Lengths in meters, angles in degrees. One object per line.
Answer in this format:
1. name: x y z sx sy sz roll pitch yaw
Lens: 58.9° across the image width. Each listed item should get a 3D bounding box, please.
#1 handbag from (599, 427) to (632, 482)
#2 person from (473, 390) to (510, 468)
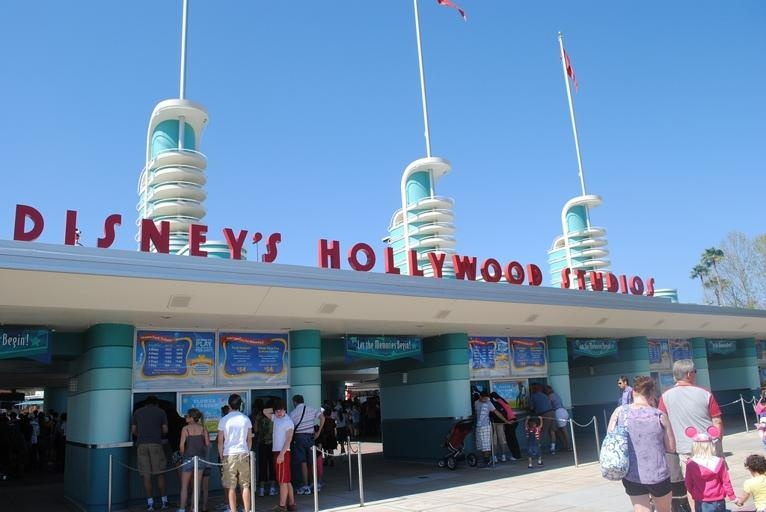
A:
1. handbag: 4.191 3.526 12.151 0.499 0.930 0.243 -9 -12 20
2. person: 3.413 5.527 21.814 0.828 2.298 0.901 -5 -11 1
